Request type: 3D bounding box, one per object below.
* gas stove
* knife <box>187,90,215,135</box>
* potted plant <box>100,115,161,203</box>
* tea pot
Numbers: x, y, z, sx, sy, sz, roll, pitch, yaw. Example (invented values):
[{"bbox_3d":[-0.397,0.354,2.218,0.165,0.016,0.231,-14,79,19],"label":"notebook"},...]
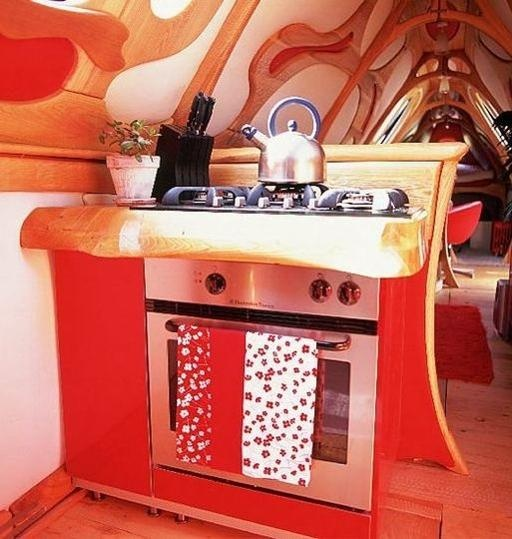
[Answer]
[{"bbox_3d":[0.047,-0.226,1.508,0.877,0.086,0.535,3,11,20],"label":"gas stove"},{"bbox_3d":[-0.206,-0.580,1.800,0.098,0.165,0.187,1,11,10],"label":"knife"},{"bbox_3d":[-0.410,-0.358,1.658,0.223,0.244,0.176,10,16,34],"label":"potted plant"},{"bbox_3d":[-0.001,-0.434,1.632,0.404,0.292,0.253,0,13,-7],"label":"tea pot"}]
